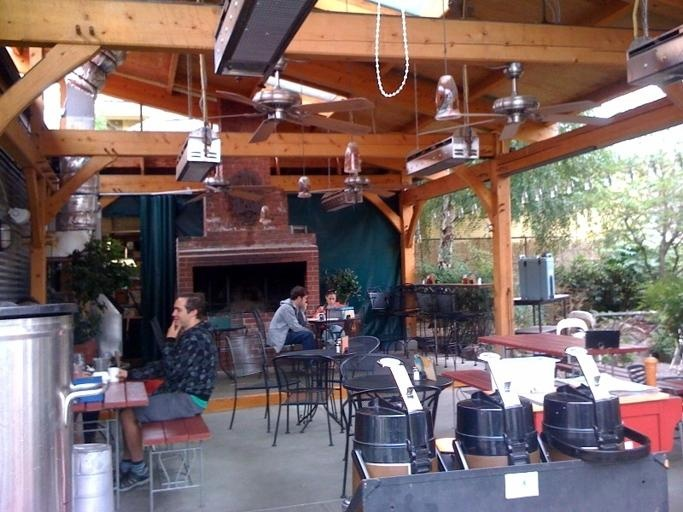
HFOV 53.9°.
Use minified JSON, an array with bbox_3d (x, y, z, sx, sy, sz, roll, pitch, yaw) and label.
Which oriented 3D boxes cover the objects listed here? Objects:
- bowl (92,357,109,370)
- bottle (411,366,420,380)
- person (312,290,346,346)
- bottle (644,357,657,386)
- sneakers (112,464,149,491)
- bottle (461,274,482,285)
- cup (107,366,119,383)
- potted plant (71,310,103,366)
[{"bbox_3d":[-1.911,0.852,5.325,0.109,0.081,0.098,0,-3,8],"label":"bowl"},{"bbox_3d":[0.496,0.801,4.551,0.060,0.111,0.063,1,-1,0],"label":"bottle"},{"bbox_3d":[-0.167,0.875,9.287,0.734,0.735,0.500,3,0,-6],"label":"person"},{"bbox_3d":[2.242,0.830,4.845,0.075,0.199,0.285,-5,-8,24],"label":"bottle"},{"bbox_3d":[-1.603,1.695,5.177,0.288,0.155,0.130,1,1,-34],"label":"sneakers"},{"bbox_3d":[2.197,0.413,11.340,0.241,0.146,0.243,1,-2,0],"label":"bottle"},{"bbox_3d":[-1.759,0.912,5.162,0.096,0.102,0.096,1,2,0],"label":"cup"},{"bbox_3d":[-3.056,0.946,8.037,0.253,0.654,0.511,0,-8,-16],"label":"potted plant"}]
